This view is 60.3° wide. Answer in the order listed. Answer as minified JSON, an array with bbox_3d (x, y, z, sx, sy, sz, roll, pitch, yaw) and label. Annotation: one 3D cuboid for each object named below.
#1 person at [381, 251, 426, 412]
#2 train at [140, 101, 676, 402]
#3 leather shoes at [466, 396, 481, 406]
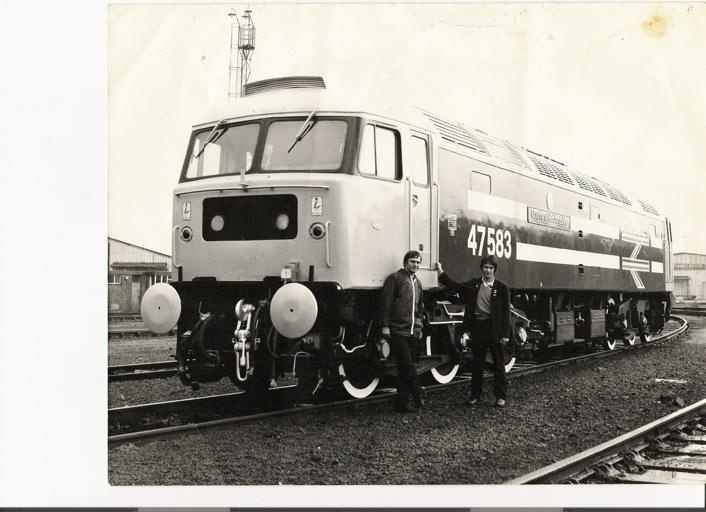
[{"bbox_3d":[0.734,1.150,9.034,0.712,2.452,0.512,1,6,-5],"label":"person"},{"bbox_3d":[3.229,-0.226,14.317,3.745,5.656,15.383,-1,-2,36],"label":"train"},{"bbox_3d":[1.964,2.343,9.726,0.169,0.205,0.112,-3,-4,17],"label":"leather shoes"}]
